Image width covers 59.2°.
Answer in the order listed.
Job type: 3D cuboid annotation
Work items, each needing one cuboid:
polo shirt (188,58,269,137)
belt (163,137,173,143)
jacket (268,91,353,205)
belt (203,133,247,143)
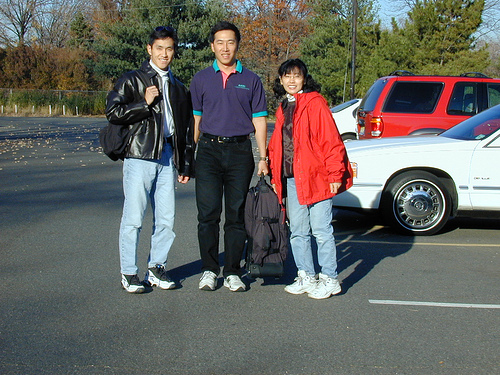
[{"bbox_3d":[-0.241,-0.998,4.772,0.858,0.877,0.487,2,7,0],"label":"polo shirt"},{"bbox_3d":[-0.860,-0.503,4.569,0.047,0.065,0.067,-2,5,1],"label":"belt"},{"bbox_3d":[0.635,-0.491,4.693,0.685,1.133,1.077,-16,13,-32],"label":"jacket"},{"bbox_3d":[-0.273,-0.524,4.665,0.462,0.081,0.120,1,8,0],"label":"belt"}]
